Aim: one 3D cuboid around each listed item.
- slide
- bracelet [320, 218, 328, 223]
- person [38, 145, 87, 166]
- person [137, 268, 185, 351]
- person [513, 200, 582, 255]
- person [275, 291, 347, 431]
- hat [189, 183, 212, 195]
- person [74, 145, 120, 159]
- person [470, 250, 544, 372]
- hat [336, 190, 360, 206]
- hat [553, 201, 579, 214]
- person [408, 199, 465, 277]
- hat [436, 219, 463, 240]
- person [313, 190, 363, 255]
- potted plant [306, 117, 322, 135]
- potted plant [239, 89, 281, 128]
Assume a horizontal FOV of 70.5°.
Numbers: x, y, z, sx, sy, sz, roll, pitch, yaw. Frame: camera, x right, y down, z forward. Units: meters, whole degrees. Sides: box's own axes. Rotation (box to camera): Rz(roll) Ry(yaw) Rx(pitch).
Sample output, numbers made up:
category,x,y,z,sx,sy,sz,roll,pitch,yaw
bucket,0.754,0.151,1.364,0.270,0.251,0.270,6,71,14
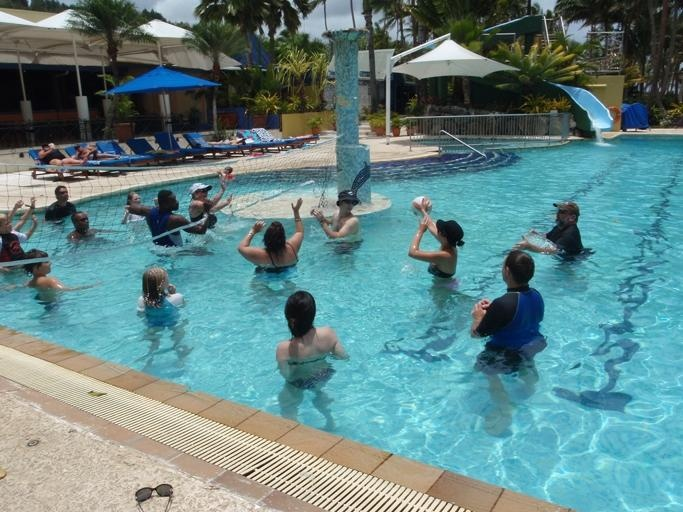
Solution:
category,x,y,z,sx,sy,sz,roll,pitch,yaw
slide,11.155,-7.149,22.653,1.346,0.982,4.131,-15,42,-8
bracelet,-0.309,-0.593,7.861,0.107,0.097,0.053,-9,63,-35
person,-8.677,-3.152,14.925,1.118,0.672,2.897,-13,17,-29
person,-2.228,0.580,6.005,0.531,0.855,0.784,-13,19,-21
person,3.300,-0.527,7.935,1.196,0.734,0.837,5,28,17
person,-0.293,0.909,4.566,0.734,1.162,0.519,-8,19,-9
hat,-2.654,-1.248,8.896,0.511,0.137,0.282,-6,8,14
person,-8.133,-3.306,15.616,1.063,0.301,0.746,11,20,33
person,1.693,0.556,4.872,0.778,1.203,0.345,-18,23,-35
hat,0.189,-0.992,8.278,0.380,0.157,0.331,6,-4,-31
hat,3.537,-0.759,7.579,0.250,0.188,0.307,-2,16,7
person,1.251,-0.144,6.456,0.644,1.035,0.903,-2,17,9
hat,1.371,-0.339,6.167,0.214,0.261,0.339,-15,19,-29
person,0.029,-0.607,8.380,0.566,1.044,0.582,-4,18,3
potted plant,-1.520,-7.473,27.576,1.312,0.987,0.947,-4,30,-3
potted plant,-4.960,-8.276,27.218,3.174,2.247,2.606,-2,21,-4
